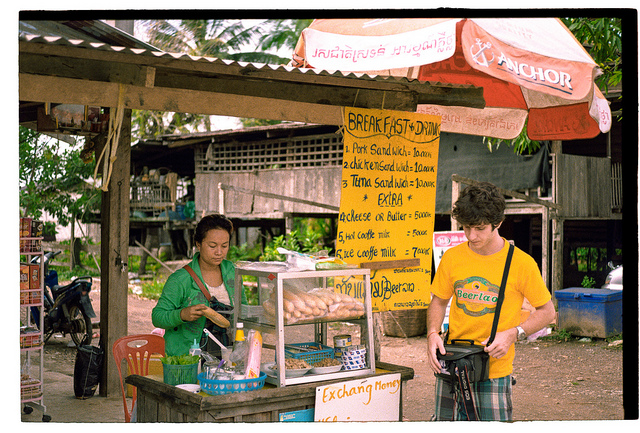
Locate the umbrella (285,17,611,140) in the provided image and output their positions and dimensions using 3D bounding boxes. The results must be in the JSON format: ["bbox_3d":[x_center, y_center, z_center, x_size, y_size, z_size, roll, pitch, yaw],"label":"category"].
[{"bbox_3d":[2.304,-2.238,12.384,4.585,1.923,2.024,0,-3,-17],"label":"umbrella"}]

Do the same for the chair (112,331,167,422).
[{"bbox_3d":[-2.197,1.981,10.592,0.668,1.261,0.890,-2,-23,-19],"label":"chair"}]

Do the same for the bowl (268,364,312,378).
[{"bbox_3d":[-0.341,1.776,9.805,0.484,0.126,0.159,-1,-3,-3],"label":"bowl"}]

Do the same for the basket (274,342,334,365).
[{"bbox_3d":[-0.123,1.616,10.083,0.591,0.229,0.388,-1,-3,-4],"label":"basket"}]

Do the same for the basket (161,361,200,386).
[{"bbox_3d":[-1.638,1.826,9.859,0.272,0.189,0.284,-1,-6,18],"label":"basket"}]
